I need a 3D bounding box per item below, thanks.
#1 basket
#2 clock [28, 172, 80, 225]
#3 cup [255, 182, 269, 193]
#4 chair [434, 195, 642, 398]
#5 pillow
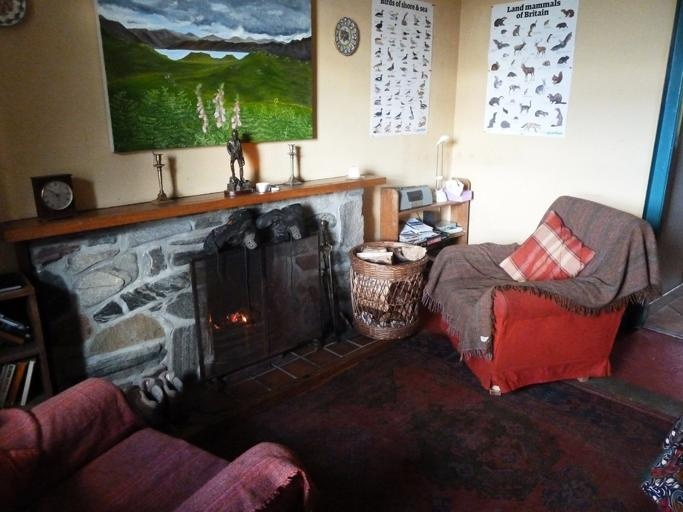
[{"bbox_3d":[0.261,0.259,3.476,0.644,0.677,0.666,-5,22,-8],"label":"basket"},{"bbox_3d":[-1.469,-0.311,2.286,0.089,0.232,0.184,23,28,30],"label":"clock"},{"bbox_3d":[-0.511,-0.441,2.871,0.079,0.051,0.079,0,22,0],"label":"cup"},{"bbox_3d":[1.295,0.204,3.029,1.252,0.973,1.154,-11,20,-17],"label":"chair"},{"bbox_3d":[1.285,-0.042,2.892,0.139,0.461,0.432,25,19,-42],"label":"pillow"}]
